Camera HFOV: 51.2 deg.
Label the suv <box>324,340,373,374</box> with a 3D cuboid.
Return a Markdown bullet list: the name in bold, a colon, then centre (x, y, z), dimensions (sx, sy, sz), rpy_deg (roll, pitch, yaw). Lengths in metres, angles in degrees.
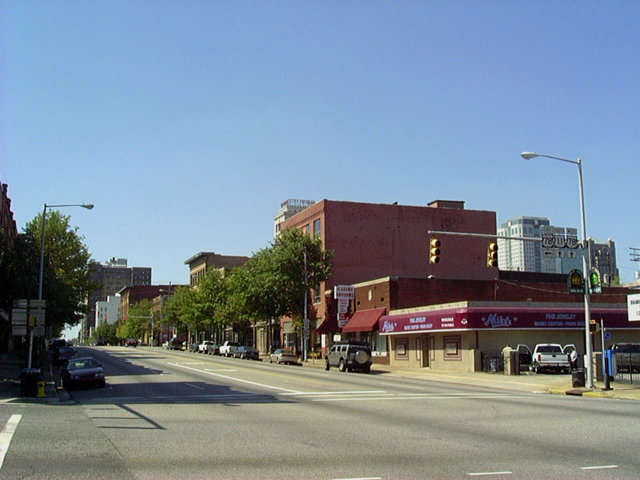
- **suv**: centre (2.141, 8.842, 50.558), dimensions (2.737, 2.674, 2.587), rpy_deg (1, -8, -3)

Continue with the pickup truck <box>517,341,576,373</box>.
- **pickup truck**: centre (15.355, 8.021, 45.799), dimensions (2.001, 1.314, 3.353), rpy_deg (1, -7, 1)

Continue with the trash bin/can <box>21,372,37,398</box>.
- **trash bin/can**: centre (-12.433, 6.110, 28.550), dimensions (0.694, 1.128, 0.509), rpy_deg (7, -12, -26)

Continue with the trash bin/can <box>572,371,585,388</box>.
- **trash bin/can**: centre (12.676, 6.775, 32.736), dimensions (0.759, 0.864, 0.417), rpy_deg (6, -11, -21)

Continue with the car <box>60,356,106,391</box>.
- **car**: centre (-11.991, 6.732, 33.942), dimensions (2.053, 1.581, 1.578), rpy_deg (2, -7, -17)
